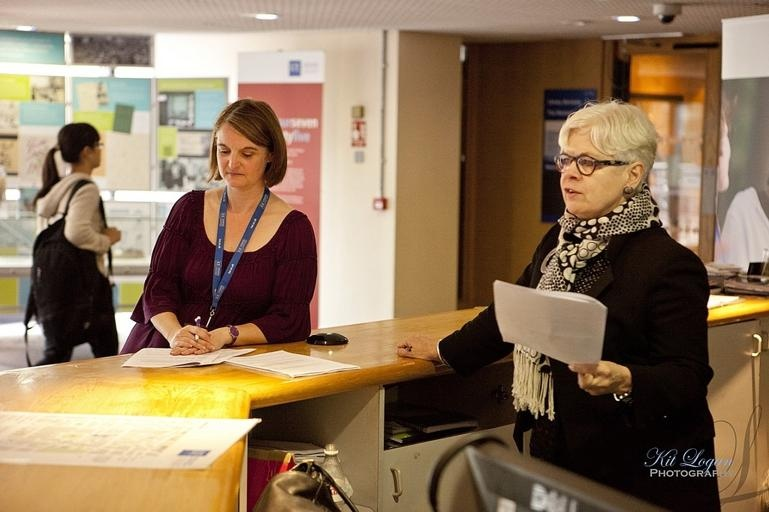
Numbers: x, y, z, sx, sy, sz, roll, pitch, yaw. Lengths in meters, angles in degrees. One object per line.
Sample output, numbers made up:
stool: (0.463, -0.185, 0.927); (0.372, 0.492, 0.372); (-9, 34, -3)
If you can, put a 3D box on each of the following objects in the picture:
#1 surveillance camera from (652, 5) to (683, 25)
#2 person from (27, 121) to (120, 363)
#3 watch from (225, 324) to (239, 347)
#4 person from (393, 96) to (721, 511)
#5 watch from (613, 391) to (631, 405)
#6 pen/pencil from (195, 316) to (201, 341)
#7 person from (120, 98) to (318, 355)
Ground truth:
surveillance camera: (2.381, -2.067, 5.634); (0.189, 0.132, 0.182); (0, 3, -2)
person: (-2.486, -0.085, 5.299); (0.712, 1.945, 0.552); (-2, 5, -9)
watch: (-0.636, 0.339, 2.800); (0.049, 0.081, 0.039); (-3, 5, -28)
person: (0.659, 0.163, 2.306); (0.504, 1.384, 0.823); (-5, 6, -43)
watch: (0.748, 0.453, 2.102); (0.056, 0.047, 0.042); (-18, -3, 12)
pen/pencil: (-0.781, 0.306, 2.775); (0.019, 0.074, 0.021); (3, -2, 41)
person: (-0.736, -0.147, 3.000); (0.690, 1.140, 0.593); (-5, 6, -40)
